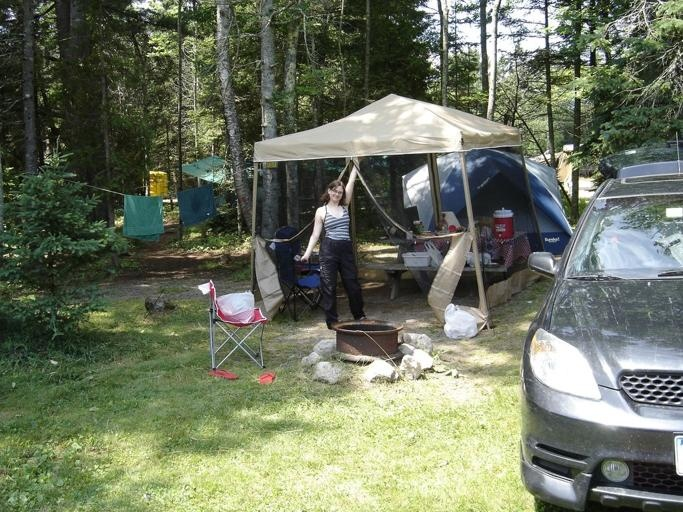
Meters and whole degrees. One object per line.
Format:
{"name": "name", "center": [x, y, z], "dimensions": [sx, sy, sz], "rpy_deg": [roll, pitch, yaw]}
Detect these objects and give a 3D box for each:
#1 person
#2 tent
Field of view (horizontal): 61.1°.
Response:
{"name": "person", "center": [-0.099, -0.029, 7.264], "dimensions": [0.712, 2.050, 0.887], "rpy_deg": [6, 13, 26]}
{"name": "tent", "center": [3.023, -1.229, 12.005], "dimensions": [2.748, 1.123, 2.534], "rpy_deg": [-3, 11, 3]}
